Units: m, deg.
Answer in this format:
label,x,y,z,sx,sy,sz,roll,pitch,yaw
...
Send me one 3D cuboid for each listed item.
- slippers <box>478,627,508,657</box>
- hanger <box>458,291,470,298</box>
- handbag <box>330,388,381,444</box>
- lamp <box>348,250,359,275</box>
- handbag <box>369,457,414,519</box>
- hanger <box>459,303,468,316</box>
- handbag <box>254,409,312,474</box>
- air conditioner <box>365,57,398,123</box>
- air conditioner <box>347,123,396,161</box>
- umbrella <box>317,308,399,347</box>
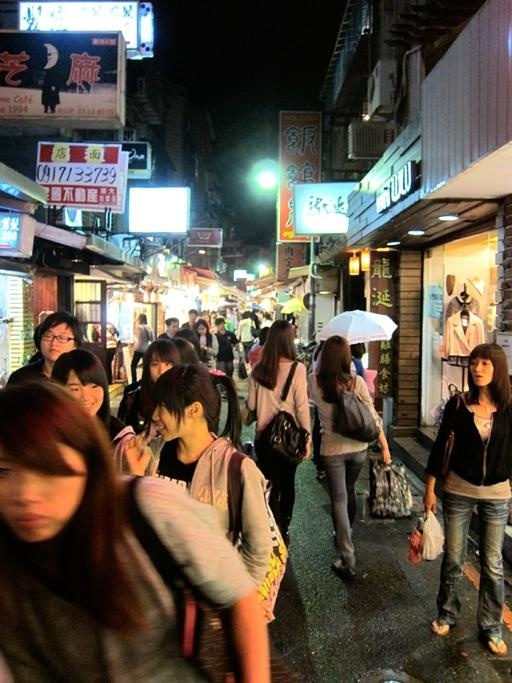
label,x,y,z,sx,sy,sz,roll,pitch,yaw
slippers,1.410,1.796,3.217,0.071,0.080,0.197,-11,0,3
hanger,2.919,-0.654,7.608,0.125,0.127,0.125,2,3,19
handbag,0.779,0.563,4.068,0.182,0.362,0.349,-22,1,8
lamp,1.868,-1.494,10.226,0.172,0.386,0.310,1,3,-4
handbag,1.190,1.183,4.939,0.416,0.800,0.576,-1,1,13
hanger,2.866,-0.428,7.448,0.103,0.179,0.145,2,3,19
handbag,0.192,0.775,4.235,0.429,0.437,0.239,35,-14,-15
air conditioner,2.216,-4.450,9.552,0.292,0.817,0.845,-3,13,-5
air conditioner,2.696,-4.817,12.795,1.044,0.808,0.820,2,3,12
umbrella,1.423,-0.195,7.257,0.804,0.318,0.859,-11,11,-1
